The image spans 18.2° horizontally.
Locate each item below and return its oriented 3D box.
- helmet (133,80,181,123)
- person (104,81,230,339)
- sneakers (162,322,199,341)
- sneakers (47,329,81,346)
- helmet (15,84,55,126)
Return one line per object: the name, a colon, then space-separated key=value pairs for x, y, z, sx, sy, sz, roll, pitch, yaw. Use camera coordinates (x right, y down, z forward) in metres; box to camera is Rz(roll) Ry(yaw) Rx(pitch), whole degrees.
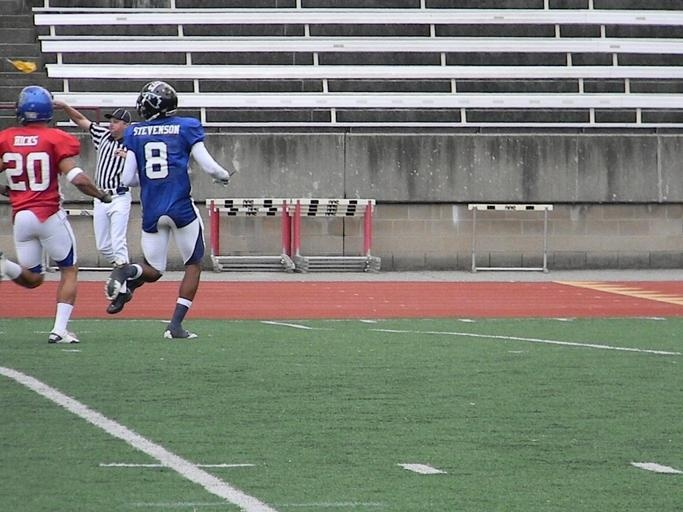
helmet: x=-2.559 y=-2.259 z=30.273 sx=0.630 sy=0.491 sz=0.479 roll=0 pitch=5 yaw=7
person: x=-2.450 y=-0.629 z=30.104 sx=1.471 sy=3.635 sz=1.112 roll=1 pitch=14 yaw=-5
sneakers: x=-2.288 y=1.093 z=30.230 sx=0.566 sy=0.214 sz=0.186 roll=1 pitch=-2 yaw=-13
sneakers: x=-3.864 y=1.138 z=29.893 sx=0.432 sy=0.174 sz=0.176 roll=-1 pitch=2 yaw=-15
helmet: x=-4.330 y=-2.192 z=29.856 sx=0.464 sy=0.497 sz=0.556 roll=-1 pitch=22 yaw=-24
